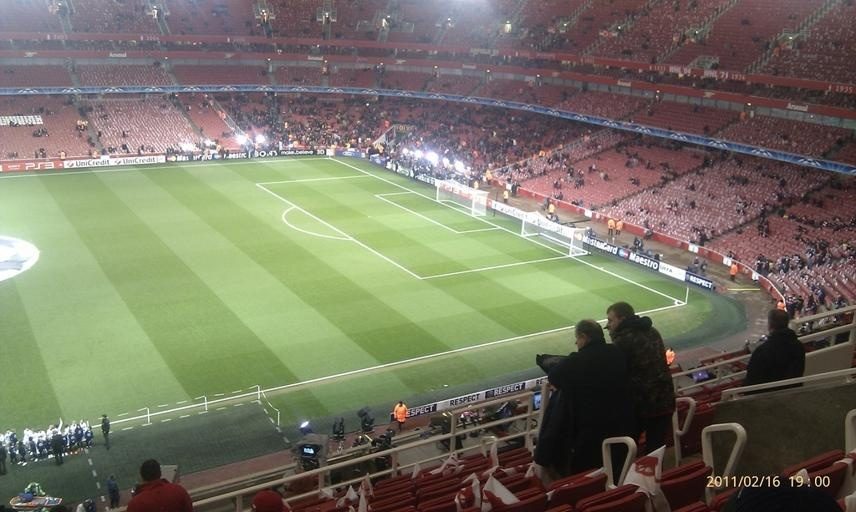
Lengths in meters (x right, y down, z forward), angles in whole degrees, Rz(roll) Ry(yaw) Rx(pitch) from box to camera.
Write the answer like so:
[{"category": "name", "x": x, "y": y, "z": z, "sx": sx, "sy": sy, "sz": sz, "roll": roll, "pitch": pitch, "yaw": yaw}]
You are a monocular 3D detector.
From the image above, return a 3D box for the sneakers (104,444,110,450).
[{"category": "sneakers", "x": -15.201, "y": 9.020, "z": 30.874, "sx": 0.246, "sy": 0.305, "sz": 0.206, "roll": -9, "pitch": -17, "yaw": -35}]

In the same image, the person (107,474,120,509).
[{"category": "person", "x": -13.478, "y": 10.048, "z": 27.836, "sx": 0.503, "sy": 1.302, "sz": 1.585, "roll": -13, "pitch": -14, "yaw": -29}]

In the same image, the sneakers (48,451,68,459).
[{"category": "sneakers", "x": -17.133, "y": 9.186, "z": 30.030, "sx": 0.191, "sy": 0.230, "sz": 0.549, "roll": 7, "pitch": 5, "yaw": 13}]

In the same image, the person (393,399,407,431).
[{"category": "person", "x": -1.381, "y": 7.988, "z": 32.538, "sx": 0.809, "sy": 1.375, "sz": 1.127, "roll": -18, "pitch": -13, "yaw": -9}]

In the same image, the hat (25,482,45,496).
[{"category": "hat", "x": -16.735, "y": 9.913, "z": 27.628, "sx": 0.720, "sy": 0.674, "sz": 1.371, "roll": -10, "pitch": -14, "yaw": -31}]

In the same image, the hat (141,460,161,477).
[{"category": "hat", "x": -7.097, "y": 5.444, "z": 16.726, "sx": 0.459, "sy": 0.459, "sz": 0.515, "roll": 2, "pitch": 14, "yaw": -12}]
